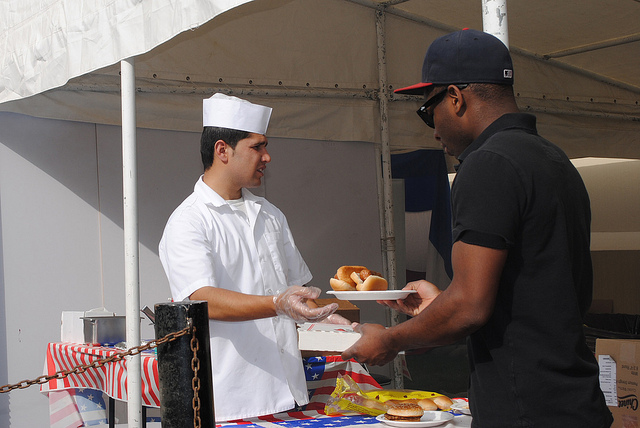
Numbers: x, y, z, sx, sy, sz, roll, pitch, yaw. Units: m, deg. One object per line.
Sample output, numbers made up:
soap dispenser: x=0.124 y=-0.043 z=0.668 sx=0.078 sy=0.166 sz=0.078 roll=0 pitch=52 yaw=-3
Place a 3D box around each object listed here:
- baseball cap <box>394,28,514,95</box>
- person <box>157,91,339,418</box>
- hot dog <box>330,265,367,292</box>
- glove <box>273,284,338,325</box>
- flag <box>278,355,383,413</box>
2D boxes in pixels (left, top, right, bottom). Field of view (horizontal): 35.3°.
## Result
baseball cap: x=0.975 y=-1.027 z=6.698 sx=0.527 sy=0.292 sz=0.353 roll=2 pitch=5 yaw=7
person: x=-0.632 y=0.276 z=7.782 sx=1.156 sy=2.560 sz=0.980 roll=0 pitch=-5 yaw=-1
hot dog: x=0.245 y=0.478 z=7.668 sx=0.267 sy=0.107 sz=0.274 roll=-2 pitch=9 yaw=19
glove: x=-0.106 y=0.665 z=7.383 sx=0.483 sy=0.271 sz=0.233 roll=-1 pitch=-6 yaw=7
flag: x=0.109 y=1.377 z=8.404 sx=0.979 sy=0.305 sz=0.979 roll=-5 pitch=-7 yaw=-33
